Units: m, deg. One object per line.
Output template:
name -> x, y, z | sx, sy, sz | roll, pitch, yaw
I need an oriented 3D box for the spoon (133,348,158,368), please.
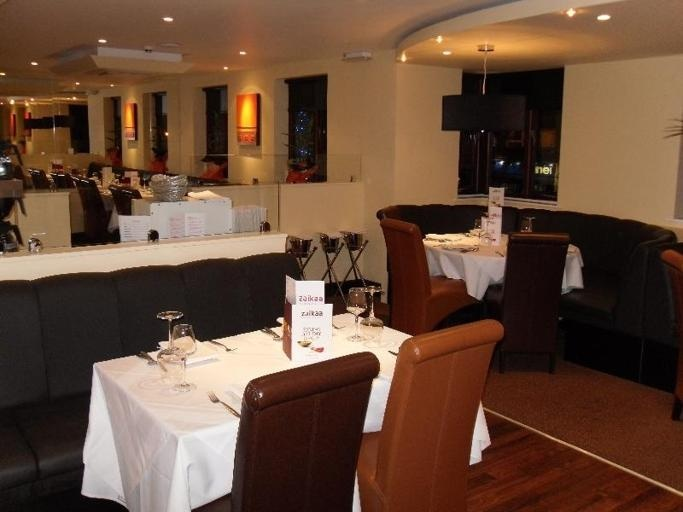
spoon -> -0.955, 0.521, 2.624 | 0.071, 0.026, 0.149 | -6, 18, -31

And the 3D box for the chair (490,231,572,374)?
chair -> 1.521, 0.399, 4.443 | 0.572, 1.228, 0.328 | 5, 14, 21

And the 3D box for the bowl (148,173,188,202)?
bowl -> -1.253, -0.495, 3.889 | 0.212, 0.156, 0.215 | 0, 7, 0

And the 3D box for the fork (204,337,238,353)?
fork -> -0.616, 0.461, 2.743 | 0.153, 0.027, 0.023 | 19, 19, 32

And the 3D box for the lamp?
lamp -> 1.440, -1.688, 5.688 | 0.820, 0.922, 0.843 | 2, 11, 7

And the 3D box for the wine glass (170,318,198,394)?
wine glass -> -0.708, 0.423, 2.391 | 0.100, 0.251, 0.292 | -4, 13, -17
